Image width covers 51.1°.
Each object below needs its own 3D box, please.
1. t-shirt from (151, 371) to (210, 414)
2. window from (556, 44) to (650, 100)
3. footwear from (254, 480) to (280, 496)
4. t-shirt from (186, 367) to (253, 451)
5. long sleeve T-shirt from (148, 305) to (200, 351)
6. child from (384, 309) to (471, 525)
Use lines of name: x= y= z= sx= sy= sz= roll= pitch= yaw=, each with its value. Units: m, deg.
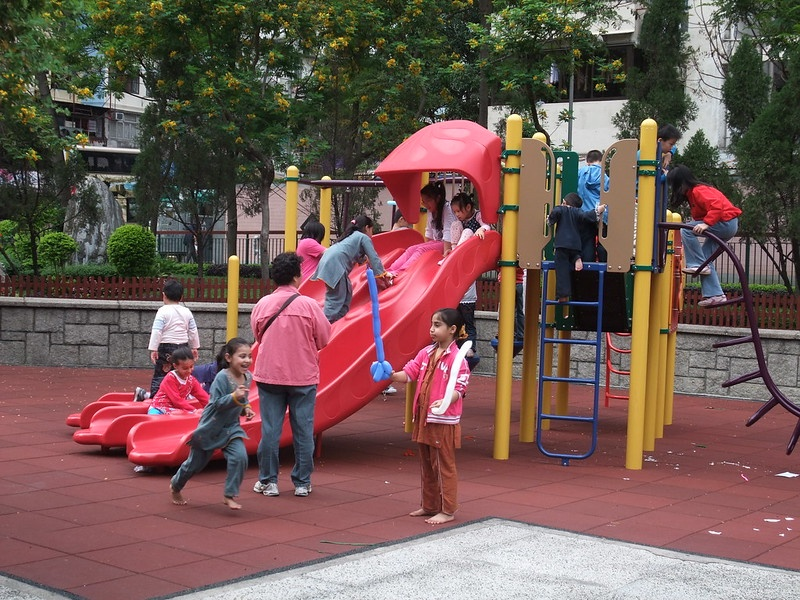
t-shirt: x=-2.618 y=1.071 z=9.805 sx=0.695 sy=0.405 sz=0.429 roll=-1 pitch=-2 yaw=34
window: x=6.133 y=-7.221 z=26.300 sx=2.171 sy=1.531 sz=1.198 roll=6 pitch=8 yaw=37
footwear: x=-1.266 y=1.783 z=7.951 sx=0.242 sy=0.116 sz=0.106 roll=2 pitch=2 yaw=35
t-shirt: x=-1.586 y=0.962 z=7.346 sx=0.478 sy=0.704 sz=0.249 roll=0 pitch=-2 yaw=-15
long sleeve T-shirt: x=-2.963 y=0.351 z=10.967 sx=0.640 sy=0.622 sz=0.270 roll=-2 pitch=11 yaw=-30
child: x=0.291 y=0.992 z=7.288 sx=0.646 sy=1.837 sz=0.562 roll=-1 pitch=-2 yaw=13
